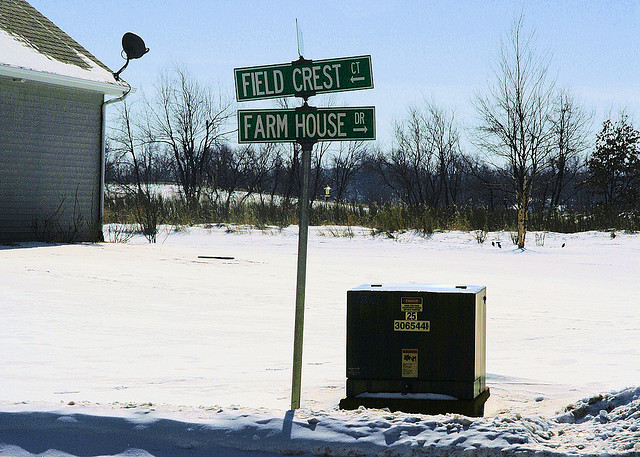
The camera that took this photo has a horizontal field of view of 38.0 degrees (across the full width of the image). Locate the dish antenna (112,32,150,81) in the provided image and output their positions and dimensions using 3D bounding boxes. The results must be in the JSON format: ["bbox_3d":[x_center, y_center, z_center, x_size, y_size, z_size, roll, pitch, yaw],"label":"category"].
[{"bbox_3d":[-4.136,-3.844,20.454,0.558,0.950,0.645,-8,-16,39],"label":"dish antenna"}]
